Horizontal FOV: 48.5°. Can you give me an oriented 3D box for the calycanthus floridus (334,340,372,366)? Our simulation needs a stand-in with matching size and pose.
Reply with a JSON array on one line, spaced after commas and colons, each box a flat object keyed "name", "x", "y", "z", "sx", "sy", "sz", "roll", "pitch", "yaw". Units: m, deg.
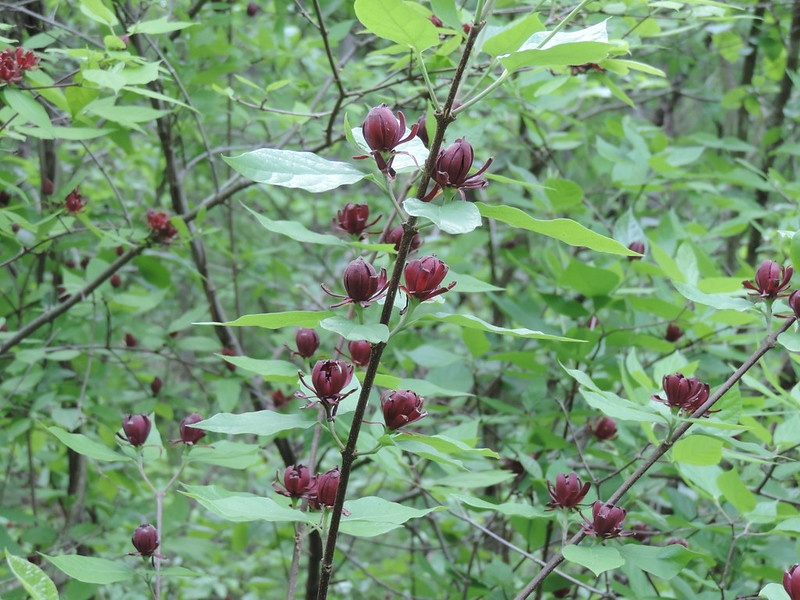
[{"name": "calycanthus floridus", "x": -0.118, "y": 0.133, "z": 2.337, "sx": 0.094, "sy": 0.049, "sz": 0.086, "roll": -14, "pitch": -12, "yaw": 43}]

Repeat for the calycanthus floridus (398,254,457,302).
[{"name": "calycanthus floridus", "x": 0.032, "y": -0.051, "z": 2.088, "sx": 0.158, "sy": 0.100, "sz": 0.121, "roll": 13, "pitch": 1, "yaw": -28}]

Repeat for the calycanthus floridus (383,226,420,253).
[{"name": "calycanthus floridus", "x": -0.004, "y": -0.171, "z": 2.382, "sx": 0.093, "sy": 0.055, "sz": 0.094, "roll": 19, "pitch": 15, "yaw": 24}]

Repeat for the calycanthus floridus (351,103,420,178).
[{"name": "calycanthus floridus", "x": -0.032, "y": -0.373, "z": 2.052, "sx": 0.144, "sy": 0.159, "sz": 0.140, "roll": -1, "pitch": -6, "yaw": -5}]

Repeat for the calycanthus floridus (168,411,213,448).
[{"name": "calycanthus floridus", "x": -0.546, "y": 0.325, "z": 2.343, "sx": 0.115, "sy": 0.101, "sz": 0.106, "roll": 6, "pitch": 0, "yaw": 19}]

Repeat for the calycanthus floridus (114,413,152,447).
[{"name": "calycanthus floridus", "x": -0.687, "y": 0.328, "z": 2.322, "sx": 0.088, "sy": 0.093, "sz": 0.084, "roll": -3, "pitch": 6, "yaw": -30}]

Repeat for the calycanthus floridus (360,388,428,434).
[{"name": "calycanthus floridus", "x": 0.006, "y": 0.265, "z": 2.143, "sx": 0.102, "sy": 0.097, "sz": 0.100, "roll": 9, "pitch": -1, "yaw": 1}]

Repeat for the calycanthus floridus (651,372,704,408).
[{"name": "calycanthus floridus", "x": 0.702, "y": 0.227, "z": 2.271, "sx": 0.109, "sy": 0.077, "sz": 0.090, "roll": -22, "pitch": -14, "yaw": 24}]

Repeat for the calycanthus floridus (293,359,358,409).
[{"name": "calycanthus floridus", "x": -0.185, "y": 0.197, "z": 2.123, "sx": 0.160, "sy": 0.095, "sz": 0.152, "roll": -9, "pitch": 11, "yaw": -37}]

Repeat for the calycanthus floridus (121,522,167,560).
[{"name": "calycanthus floridus", "x": -0.647, "y": 0.611, "z": 2.260, "sx": 0.093, "sy": 0.079, "sz": 0.093, "roll": 5, "pitch": 9, "yaw": 30}]

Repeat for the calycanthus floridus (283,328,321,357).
[{"name": "calycanthus floridus", "x": -0.260, "y": 0.108, "z": 2.340, "sx": 0.082, "sy": 0.080, "sz": 0.064, "roll": -10, "pitch": 8, "yaw": -11}]

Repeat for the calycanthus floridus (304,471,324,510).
[{"name": "calycanthus floridus", "x": -0.218, "y": 0.476, "z": 2.239, "sx": 0.050, "sy": 0.080, "sz": 0.075, "roll": -9, "pitch": -35, "yaw": 2}]

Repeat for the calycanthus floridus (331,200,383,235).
[{"name": "calycanthus floridus", "x": -0.118, "y": -0.223, "z": 2.389, "sx": 0.105, "sy": 0.072, "sz": 0.092, "roll": 0, "pitch": 6, "yaw": 10}]

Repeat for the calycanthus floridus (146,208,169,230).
[{"name": "calycanthus floridus", "x": -0.730, "y": -0.240, "z": 2.669, "sx": 0.071, "sy": 0.066, "sz": 0.151, "roll": 10, "pitch": -2, "yaw": -17}]

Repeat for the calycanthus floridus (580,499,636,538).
[{"name": "calycanthus floridus", "x": 0.509, "y": 0.551, "z": 2.207, "sx": 0.126, "sy": 0.091, "sz": 0.111, "roll": 10, "pitch": -3, "yaw": -30}]

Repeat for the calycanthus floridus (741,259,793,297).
[{"name": "calycanthus floridus", "x": 0.934, "y": -0.056, "z": 2.269, "sx": 0.114, "sy": 0.088, "sz": 0.094, "roll": -28, "pitch": 34, "yaw": -16}]

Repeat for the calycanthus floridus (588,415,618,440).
[{"name": "calycanthus floridus", "x": 0.658, "y": 0.403, "z": 2.892, "sx": 0.080, "sy": 0.058, "sz": 0.087, "roll": -4, "pitch": 8, "yaw": 12}]

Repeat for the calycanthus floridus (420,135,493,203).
[{"name": "calycanthus floridus", "x": 0.136, "y": -0.294, "z": 2.053, "sx": 0.135, "sy": 0.151, "sz": 0.184, "roll": 9, "pitch": -1, "yaw": 3}]

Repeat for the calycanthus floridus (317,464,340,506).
[{"name": "calycanthus floridus", "x": -0.179, "y": 0.467, "z": 2.218, "sx": 0.069, "sy": 0.107, "sz": 0.066, "roll": 3, "pitch": 1, "yaw": -13}]

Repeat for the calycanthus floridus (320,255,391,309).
[{"name": "calycanthus floridus", "x": -0.088, "y": -0.041, "z": 2.092, "sx": 0.120, "sy": 0.122, "sz": 0.145, "roll": 9, "pitch": -1, "yaw": -1}]

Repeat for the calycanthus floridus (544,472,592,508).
[{"name": "calycanthus floridus", "x": 0.436, "y": 0.485, "z": 2.297, "sx": 0.103, "sy": 0.085, "sz": 0.108, "roll": 2, "pitch": -2, "yaw": -3}]
